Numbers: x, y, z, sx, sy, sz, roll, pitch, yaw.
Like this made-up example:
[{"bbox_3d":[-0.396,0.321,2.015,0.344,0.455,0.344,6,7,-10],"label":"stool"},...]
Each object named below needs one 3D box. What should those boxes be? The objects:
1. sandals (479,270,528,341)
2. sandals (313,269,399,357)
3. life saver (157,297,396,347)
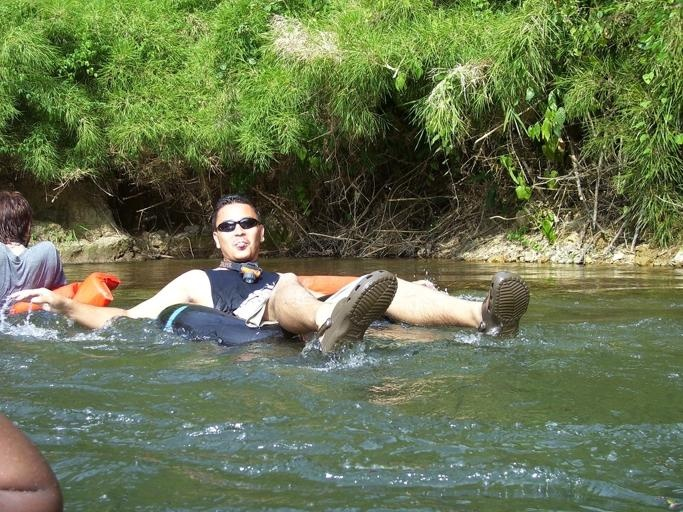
[{"bbox_3d":[0.877,0.259,4.667,0.190,0.276,0.610,3,17,8],"label":"sandals"},{"bbox_3d":[0.045,0.299,4.537,0.220,0.631,0.269,2,43,-28],"label":"sandals"},{"bbox_3d":[-0.500,0.380,4.913,0.680,0.197,0.773,4,-2,-43],"label":"life saver"}]
